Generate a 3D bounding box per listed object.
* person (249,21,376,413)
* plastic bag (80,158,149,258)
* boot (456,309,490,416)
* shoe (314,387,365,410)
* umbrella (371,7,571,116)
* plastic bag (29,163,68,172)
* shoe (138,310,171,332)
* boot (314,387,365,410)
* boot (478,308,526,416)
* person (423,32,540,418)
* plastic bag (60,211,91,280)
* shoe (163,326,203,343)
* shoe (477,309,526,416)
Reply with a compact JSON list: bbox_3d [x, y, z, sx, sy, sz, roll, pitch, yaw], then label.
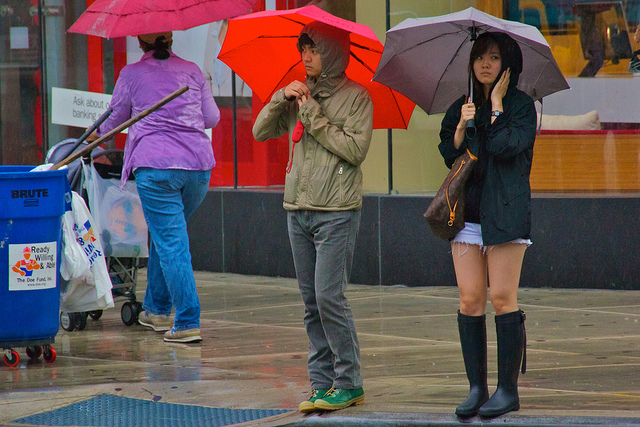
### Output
[{"bbox_3d":[0.005,-0.008,9.509,0.892,3.074,0.954,-4,15,-9],"label":"person"},{"bbox_3d":[-2.102,-0.108,11.923,0.552,1.063,0.915,9,1,35],"label":"plastic bag"},{"bbox_3d":[1.241,1.184,9.362,0.304,0.781,0.323,0,-2,-1],"label":"boot"},{"bbox_3d":[0.164,1.485,9.577,0.424,0.188,0.154,1,-6,-15],"label":"shoe"},{"bbox_3d":[1.027,-1.347,9.649,1.112,0.417,1.057,13,-27,12],"label":"umbrella"},{"bbox_3d":[-2.520,-0.450,10.838,0.231,0.064,0.136,-8,-2,-21],"label":"plastic bag"},{"bbox_3d":[-1.644,1.059,11.783,0.380,0.164,0.150,15,10,38],"label":"shoe"},{"bbox_3d":[0.163,1.497,9.572,0.427,0.182,0.155,1,-5,-15],"label":"boot"},{"bbox_3d":[1.447,1.161,9.254,0.235,0.786,0.391,7,17,30],"label":"boot"},{"bbox_3d":[1.284,0.070,9.277,0.822,2.940,0.876,1,15,9],"label":"person"},{"bbox_3d":[-2.364,0.286,10.969,0.249,0.598,0.371,2,-4,-14],"label":"plastic bag"},{"bbox_3d":[-1.325,1.143,11.302,0.346,0.149,0.141,3,-1,23],"label":"shoe"},{"bbox_3d":[1.423,1.164,9.270,0.299,0.794,0.588,-2,-2,42],"label":"shoe"}]
